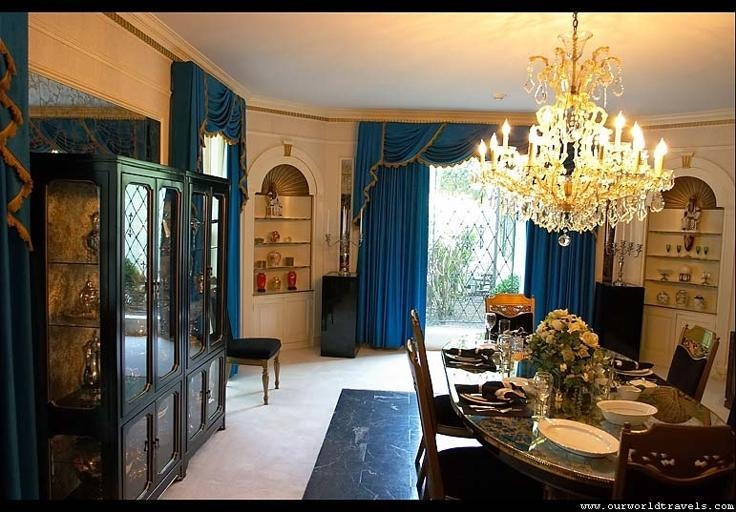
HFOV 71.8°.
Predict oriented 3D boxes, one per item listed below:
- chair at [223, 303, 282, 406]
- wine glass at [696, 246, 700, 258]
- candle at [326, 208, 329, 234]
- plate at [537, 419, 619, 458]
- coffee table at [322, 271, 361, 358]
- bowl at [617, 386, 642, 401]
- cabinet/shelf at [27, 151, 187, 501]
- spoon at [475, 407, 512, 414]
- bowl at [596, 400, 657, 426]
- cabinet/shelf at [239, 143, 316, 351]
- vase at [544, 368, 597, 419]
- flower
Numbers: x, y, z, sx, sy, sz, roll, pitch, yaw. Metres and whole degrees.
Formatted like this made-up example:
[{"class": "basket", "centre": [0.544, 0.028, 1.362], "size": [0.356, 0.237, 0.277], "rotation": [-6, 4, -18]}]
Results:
[{"class": "chair", "centre": [-1.204, 0.908, 5.138], "size": [0.603, 0.916, 0.569], "rotation": [6, 2, -3]}, {"class": "wine glass", "centre": [4.026, -0.055, 6.206], "size": [0.038, 0.118, 0.085], "rotation": [3, 10, 8]}, {"class": "candle", "centre": [-0.523, -0.447, 6.670], "size": [0.049, 0.297, 0.091], "rotation": [0, 11, -6]}, {"class": "plate", "centre": [1.121, 0.975, 2.745], "size": [0.432, 0.050, 0.406], "rotation": [6, 5, -10]}, {"class": "coffee table", "centre": [-0.409, 0.713, 6.536], "size": [0.611, 0.964, 0.604], "rotation": [-6, 1, -15]}, {"class": "bowl", "centre": [1.653, 0.865, 3.209], "size": [0.113, 0.051, 0.100], "rotation": [2, 0, -2]}, {"class": "cabinet/shelf", "centre": [-1.697, 0.558, 3.473], "size": [0.507, 2.290, 1.134], "rotation": [2, 2, 1]}, {"class": "spoon", "centre": [0.740, 0.919, 3.034], "size": [0.132, 0.022, 0.075], "rotation": [-1, 5, 7]}, {"class": "bowl", "centre": [1.520, 0.908, 2.964], "size": [0.301, 0.079, 0.290], "rotation": [-1, 0, 0]}, {"class": "cabinet/shelf", "centre": [-1.116, -0.076, 6.414], "size": [1.085, 2.571, 0.599], "rotation": [-4, 12, -25]}, {"class": "vase", "centre": [1.243, 0.841, 3.173], "size": [0.313, 0.321, 0.299], "rotation": [0, -4, 20]}, {"class": "flower", "centre": [1.284, 0.675, 3.398], "size": [0.611, 0.891, 0.605], "rotation": [-1, -2, 21]}]
